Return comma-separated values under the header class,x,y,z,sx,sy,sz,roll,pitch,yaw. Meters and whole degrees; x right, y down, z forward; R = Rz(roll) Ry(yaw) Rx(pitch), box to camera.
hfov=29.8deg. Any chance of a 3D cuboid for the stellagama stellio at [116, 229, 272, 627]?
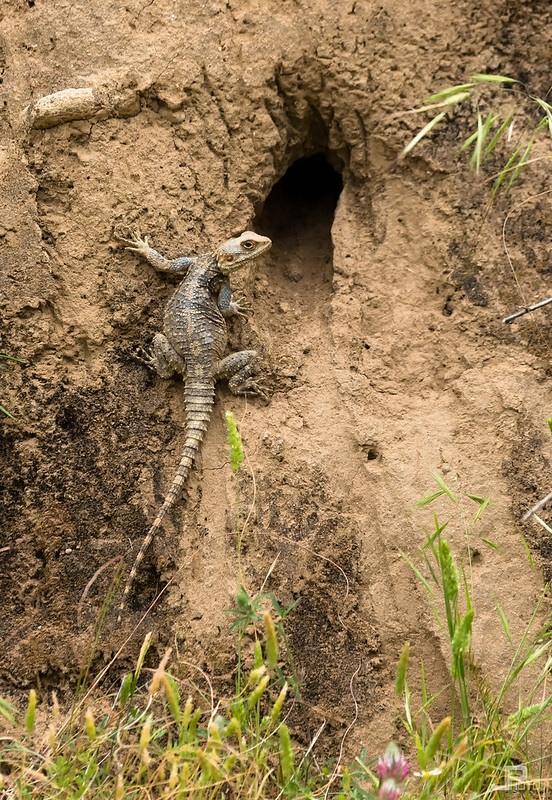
class,x,y,z,sx,sy,sz,roll,pitch,yaw
stellagama stellio,-0.347,0.069,4.103,0.662,0.307,1.975,5,49,-4
